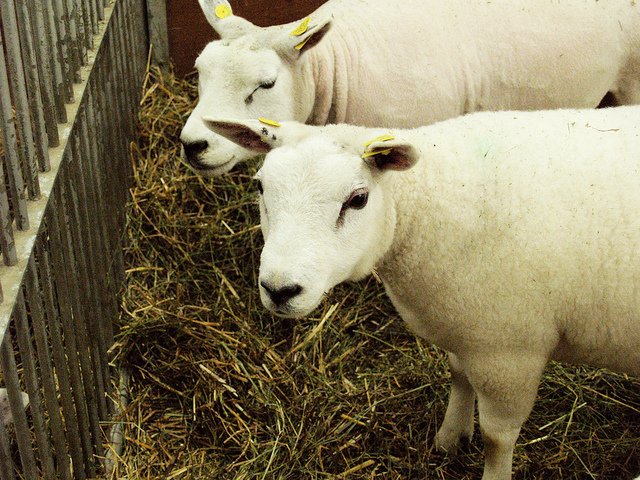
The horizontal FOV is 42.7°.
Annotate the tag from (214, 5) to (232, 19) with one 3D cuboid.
[{"bbox_3d":[-0.665,-1.590,5.666,0.121,0.057,0.107,-9,39,-8],"label":"tag"}]

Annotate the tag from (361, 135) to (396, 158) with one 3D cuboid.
[{"bbox_3d":[0.314,-0.502,4.273,0.139,0.118,0.048,-10,-5,19],"label":"tag"}]

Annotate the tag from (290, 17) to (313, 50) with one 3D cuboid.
[{"bbox_3d":[-0.108,-1.346,5.349,0.172,0.052,0.137,-42,36,16],"label":"tag"}]
